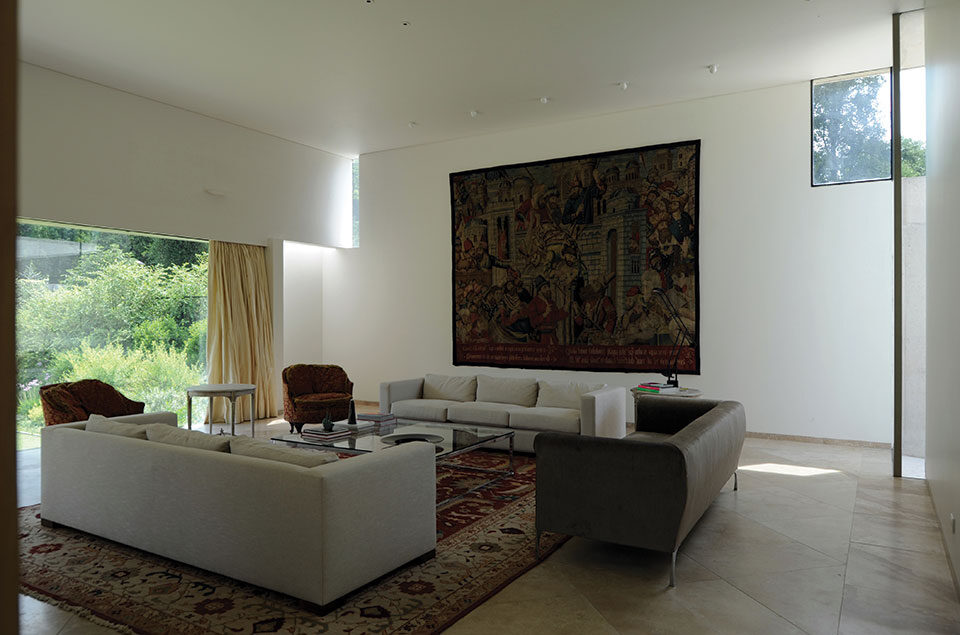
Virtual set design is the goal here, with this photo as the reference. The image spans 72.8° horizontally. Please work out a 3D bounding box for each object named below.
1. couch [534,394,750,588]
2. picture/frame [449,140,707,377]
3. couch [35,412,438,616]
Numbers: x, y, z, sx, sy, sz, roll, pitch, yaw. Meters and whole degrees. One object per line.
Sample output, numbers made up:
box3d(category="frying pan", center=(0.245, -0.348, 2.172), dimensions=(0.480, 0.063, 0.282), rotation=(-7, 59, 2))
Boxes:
box3d(category="couch", center=(1.687, 1.460, 6.437), dimensions=(1.357, 1.303, 2.758), rotation=(8, 14, 33))
box3d(category="picture/frame", center=(1.373, -0.905, 10.914), dimensions=(4.577, 3.572, 0.039), rotation=(0, 4, 33))
box3d(category="couch", center=(-2.347, 1.542, 5.787), dimensions=(3.813, 1.078, 1.178), rotation=(5, 12, 19))
